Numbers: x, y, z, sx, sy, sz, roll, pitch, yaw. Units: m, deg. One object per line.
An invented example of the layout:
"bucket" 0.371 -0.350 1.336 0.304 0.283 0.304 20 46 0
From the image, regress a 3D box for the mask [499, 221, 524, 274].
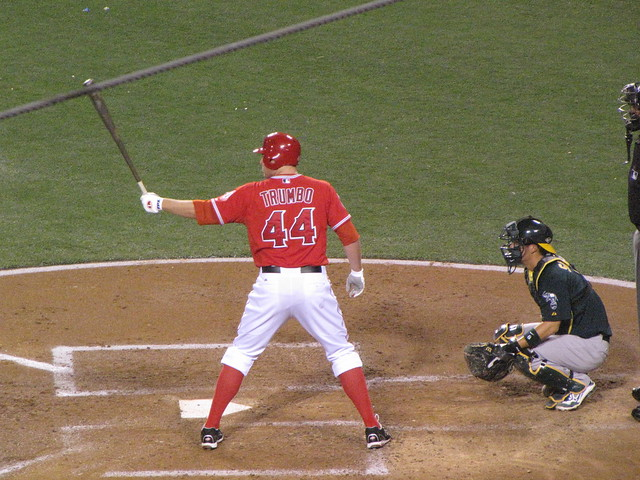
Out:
"mask" 2.199 0.066 13.056 0.408 0.470 0.518 -4 6 1

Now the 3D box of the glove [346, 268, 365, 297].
"glove" 0.408 0.470 12.916 0.245 0.310 0.094 8 41 6

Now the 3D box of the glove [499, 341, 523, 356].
"glove" 2.185 1.235 12.928 0.236 0.175 0.093 -4 37 6

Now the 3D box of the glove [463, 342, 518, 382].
"glove" 1.930 1.414 13.073 0.528 0.461 0.325 19 45 36

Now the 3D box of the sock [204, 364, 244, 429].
"sock" -1.002 1.758 12.483 0.328 0.704 0.300 14 2 -38
